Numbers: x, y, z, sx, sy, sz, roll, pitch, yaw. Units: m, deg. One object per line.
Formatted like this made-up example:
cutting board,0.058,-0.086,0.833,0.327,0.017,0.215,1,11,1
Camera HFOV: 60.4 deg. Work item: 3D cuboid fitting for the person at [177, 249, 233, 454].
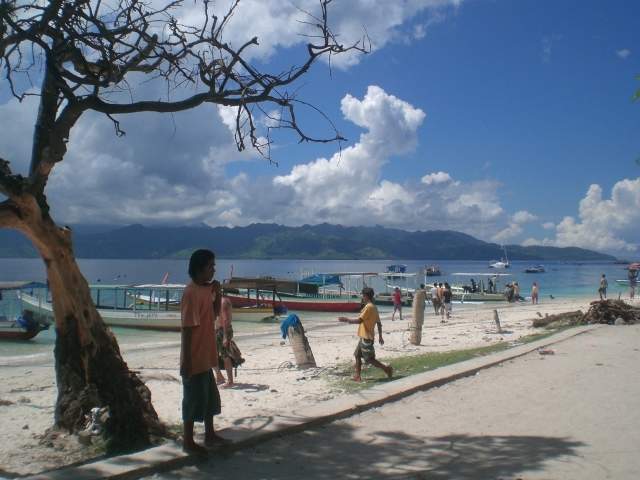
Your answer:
person,-1.647,1.463,7.505,0.593,2.697,0.485,0,-3,-35
